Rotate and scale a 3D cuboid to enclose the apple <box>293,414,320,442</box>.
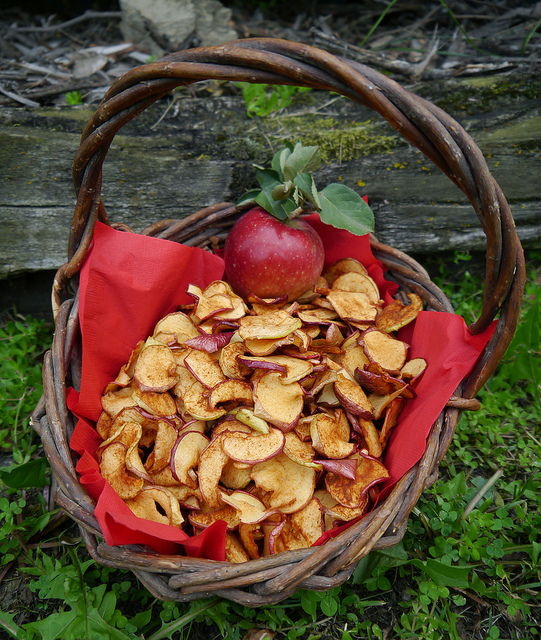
[{"bbox_3d":[0.073,0.212,1.247,0.058,0.016,0.047,3,35,-14],"label":"apple"}]

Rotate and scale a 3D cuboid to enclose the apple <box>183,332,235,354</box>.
[{"bbox_3d":[-0.124,0.046,1.317,0.075,0.017,0.045,-14,30,-42],"label":"apple"}]

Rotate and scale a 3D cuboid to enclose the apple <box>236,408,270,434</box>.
[{"bbox_3d":[-0.035,0.193,1.216,0.073,0.027,0.016,31,1,18],"label":"apple"}]

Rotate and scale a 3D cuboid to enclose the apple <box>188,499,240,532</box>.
[{"bbox_3d":[-0.098,0.337,1.154,0.079,0.026,0.075,-3,21,10],"label":"apple"}]

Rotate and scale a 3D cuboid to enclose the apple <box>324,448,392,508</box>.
[{"bbox_3d":[0.160,0.298,1.233,0.047,0.112,0.139,40,-5,22],"label":"apple"}]

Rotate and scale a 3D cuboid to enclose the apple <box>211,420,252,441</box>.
[{"bbox_3d":[-0.074,0.211,1.232,0.073,0.024,0.048,-1,30,-4],"label":"apple"}]

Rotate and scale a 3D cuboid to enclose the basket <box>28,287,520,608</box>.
[{"bbox_3d":[-0.060,0.180,1.150,0.844,0.437,0.525,9,32,13],"label":"basket"}]

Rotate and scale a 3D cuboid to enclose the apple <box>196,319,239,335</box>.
[{"bbox_3d":[-0.109,0.011,1.360,0.069,0.015,0.042,-7,2,-5],"label":"apple"}]

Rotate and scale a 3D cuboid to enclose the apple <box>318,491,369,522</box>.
[{"bbox_3d":[0.133,0.335,1.149,0.094,0.026,0.037,-7,33,-9],"label":"apple"}]

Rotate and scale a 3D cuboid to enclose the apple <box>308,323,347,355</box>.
[{"bbox_3d":[0.108,0.035,1.348,0.073,0.067,0.035,9,11,3],"label":"apple"}]

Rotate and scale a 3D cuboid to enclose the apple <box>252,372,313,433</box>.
[{"bbox_3d":[0.019,0.160,1.230,0.133,0.050,0.099,7,66,-23],"label":"apple"}]

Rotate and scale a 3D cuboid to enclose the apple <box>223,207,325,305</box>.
[{"bbox_3d":[0.008,-0.139,1.451,0.250,0.183,0.211,18,12,-2],"label":"apple"}]

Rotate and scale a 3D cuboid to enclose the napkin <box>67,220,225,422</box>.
[{"bbox_3d":[-0.349,0.006,1.390,0.425,0.357,0.154,21,-21,-33],"label":"napkin"}]
